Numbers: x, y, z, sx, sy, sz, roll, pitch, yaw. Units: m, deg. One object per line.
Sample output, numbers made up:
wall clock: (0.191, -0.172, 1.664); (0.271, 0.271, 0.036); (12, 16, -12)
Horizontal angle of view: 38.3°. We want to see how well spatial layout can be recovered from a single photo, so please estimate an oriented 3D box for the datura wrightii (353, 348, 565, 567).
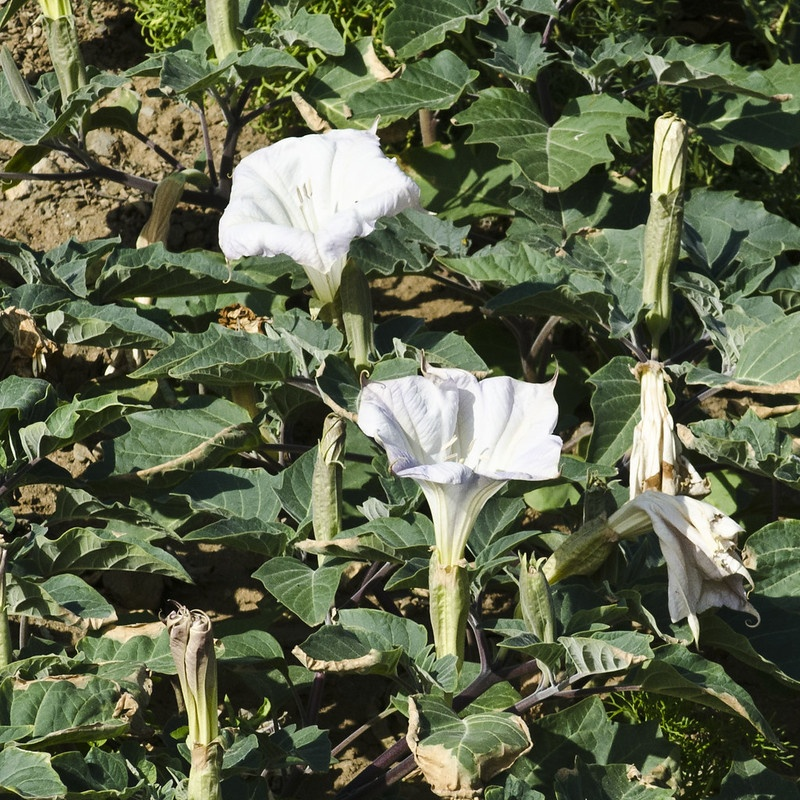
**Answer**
datura wrightii: (0.151, 0.143, 2.656); (0.489, 0.287, 0.344); (0, 37, -8)
